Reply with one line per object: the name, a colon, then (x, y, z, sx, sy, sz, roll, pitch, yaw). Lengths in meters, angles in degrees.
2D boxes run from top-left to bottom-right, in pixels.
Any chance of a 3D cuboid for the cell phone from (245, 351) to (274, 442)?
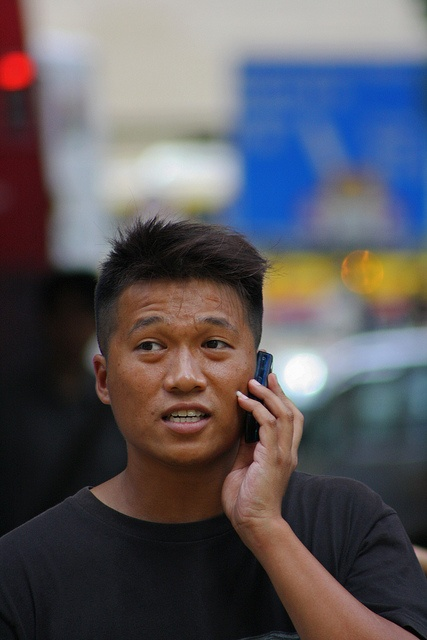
cell phone: (0.161, 0.275, 3.756, 0.087, 0.089, 0.324, 8, 73, 3)
